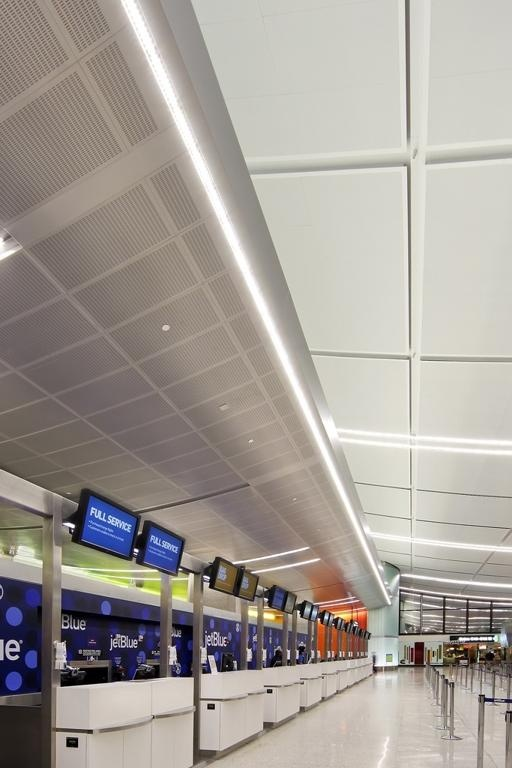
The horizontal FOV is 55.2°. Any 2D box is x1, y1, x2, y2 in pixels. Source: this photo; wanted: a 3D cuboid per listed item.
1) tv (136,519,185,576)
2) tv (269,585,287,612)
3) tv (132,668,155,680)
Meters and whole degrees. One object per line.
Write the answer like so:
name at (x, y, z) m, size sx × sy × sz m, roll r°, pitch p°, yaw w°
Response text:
tv at (-1.086, 1.910, 5.647) m, size 0.099 × 0.427 × 0.654 m, roll -8°, pitch -33°, yaw 30°
tv at (0.455, 4.791, 11.003) m, size 0.148 × 0.512 × 1.112 m, roll -3°, pitch -21°, yaw 20°
tv at (-1.528, 3.917, 6.665) m, size 0.244 × 0.167 × 0.322 m, roll 7°, pitch -20°, yaw -9°
